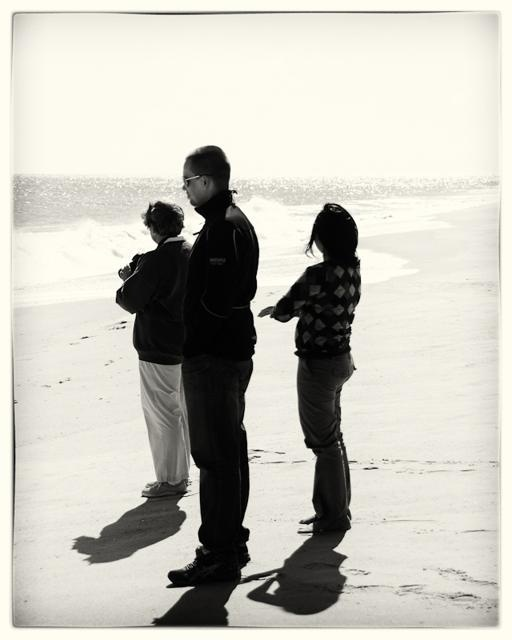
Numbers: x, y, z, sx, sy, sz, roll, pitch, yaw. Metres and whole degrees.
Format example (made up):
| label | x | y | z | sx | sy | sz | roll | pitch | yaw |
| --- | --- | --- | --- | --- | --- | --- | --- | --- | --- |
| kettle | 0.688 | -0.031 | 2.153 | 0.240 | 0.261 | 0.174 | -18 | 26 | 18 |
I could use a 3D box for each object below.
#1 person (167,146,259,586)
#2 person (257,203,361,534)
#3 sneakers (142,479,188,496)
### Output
| label | x | y | z | sx | sy | sz | roll | pitch | yaw |
| --- | --- | --- | --- | --- | --- | --- | --- | --- | --- |
| person | -0.249 | 0.236 | 5.100 | 0.449 | 2.347 | 0.532 | -1 | 7 | 14 |
| person | 0.384 | 0.303 | 5.652 | 0.513 | 1.987 | 0.393 | -2 | 7 | 7 |
| sneakers | -0.651 | 1.197 | 6.632 | 0.329 | 0.144 | 0.125 | 3 | -2 | 1 |
